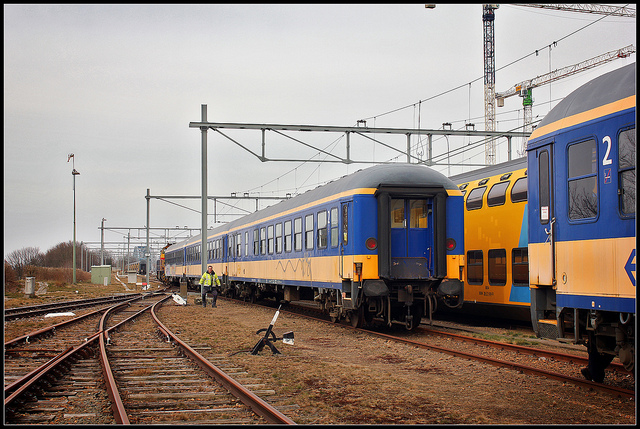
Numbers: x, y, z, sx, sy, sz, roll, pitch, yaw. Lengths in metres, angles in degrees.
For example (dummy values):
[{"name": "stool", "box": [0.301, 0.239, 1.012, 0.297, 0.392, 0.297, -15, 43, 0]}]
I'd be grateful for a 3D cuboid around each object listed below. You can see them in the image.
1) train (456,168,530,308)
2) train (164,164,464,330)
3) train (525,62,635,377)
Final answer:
[{"name": "train", "box": [5.232, 0.720, 16.613, 0.542, 3.902, 2.731, 1, -8, -14]}, {"name": "train", "box": [-1.633, 1.637, 27.541, 4.112, 4.785, 26.028, 0, -3, -20]}, {"name": "train", "box": [4.475, -0.092, 9.576, 0.683, 4.450, 2.154, 1, -7, -15]}]
